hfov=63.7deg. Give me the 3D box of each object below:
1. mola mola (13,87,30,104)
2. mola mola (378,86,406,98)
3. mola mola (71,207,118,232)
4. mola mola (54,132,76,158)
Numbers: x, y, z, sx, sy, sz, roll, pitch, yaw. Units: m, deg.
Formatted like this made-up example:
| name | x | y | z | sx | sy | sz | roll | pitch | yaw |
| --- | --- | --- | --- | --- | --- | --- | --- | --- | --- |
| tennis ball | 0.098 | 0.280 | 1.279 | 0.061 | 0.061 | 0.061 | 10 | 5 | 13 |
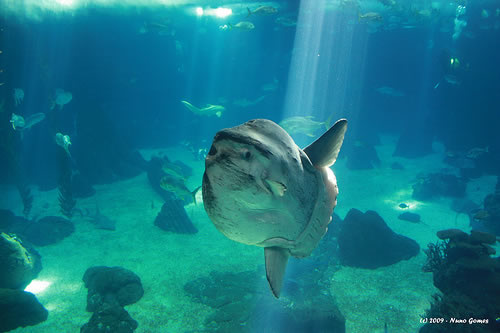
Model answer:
| name | x | y | z | sx | sy | sz | roll | pitch | yaw |
| --- | --- | --- | --- | --- | --- | --- | --- | --- | --- |
| mola mola | -15.232 | -4.801 | 26.816 | 1.202 | 0.308 | 1.243 | -27 | -27 | -35 |
| mola mola | 11.665 | -6.227 | 33.167 | 1.633 | 0.325 | 1.628 | 8 | 7 | -24 |
| mola mola | -9.287 | 3.234 | 24.390 | 2.830 | 1.537 | 0.690 | -6 | -15 | 19 |
| mola mola | -12.087 | -1.458 | 26.467 | 0.791 | 1.834 | 0.519 | -25 | 10 | 19 |
